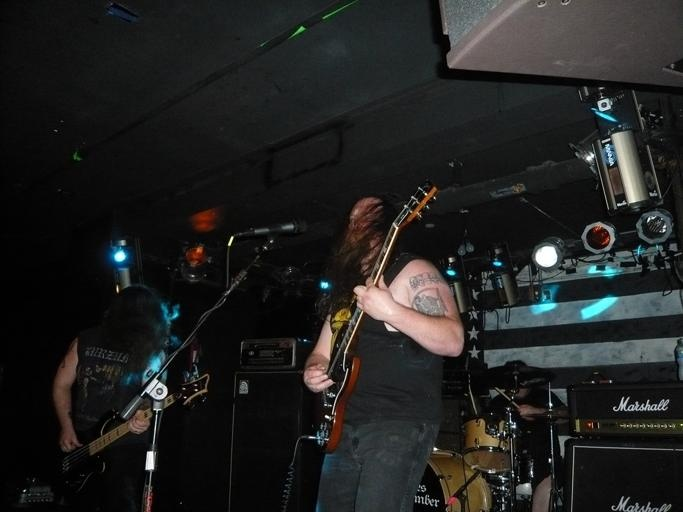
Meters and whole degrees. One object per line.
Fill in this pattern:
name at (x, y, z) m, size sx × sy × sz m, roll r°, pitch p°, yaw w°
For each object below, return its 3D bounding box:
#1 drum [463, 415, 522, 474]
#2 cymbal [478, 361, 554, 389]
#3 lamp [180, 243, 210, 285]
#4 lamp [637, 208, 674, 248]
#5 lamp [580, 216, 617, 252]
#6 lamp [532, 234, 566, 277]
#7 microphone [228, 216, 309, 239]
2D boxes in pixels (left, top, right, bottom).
drum at (1.662, 2.102, 5.885) m, size 0.598 × 0.406 × 0.575 m, roll 4°, pitch -29°, yaw 2°
cymbal at (2.515, 1.686, 7.340) m, size 0.561 × 0.122 × 0.537 m, roll 0°, pitch -3°, yaw -26°
lamp at (-1.959, 0.089, 7.102) m, size 0.367 × 0.475 × 0.259 m, roll 4°, pitch -14°, yaw -15°
lamp at (3.285, -0.314, 5.618) m, size 0.296 × 0.305 × 0.401 m, roll -5°, pitch -15°, yaw 22°
lamp at (2.840, -0.209, 5.875) m, size 0.340 × 0.344 × 0.265 m, roll -7°, pitch -15°, yaw 26°
lamp at (2.553, -0.010, 6.588) m, size 0.323 × 0.438 × 0.153 m, roll 35°, pitch 14°, yaw 33°
microphone at (-0.522, -0.249, 4.520) m, size 0.836 × 0.179 × 0.202 m, roll -6°, pitch 5°, yaw -33°
